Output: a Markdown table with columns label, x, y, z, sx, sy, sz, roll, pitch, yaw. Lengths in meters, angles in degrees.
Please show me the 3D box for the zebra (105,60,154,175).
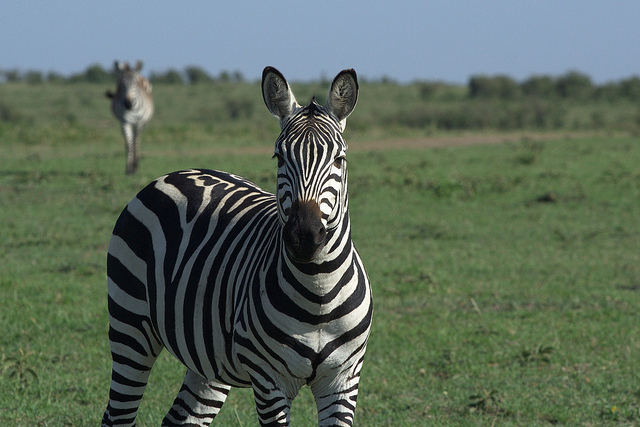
| label | x | y | z | sx | sy | sz | roll | pitch | yaw |
| --- | --- | --- | --- | --- | --- | --- | --- | --- | --- |
| zebra | -3.468 | -1.791 | 19.401 | 0.511 | 1.673 | 2.612 | -2 | 3 | -6 |
